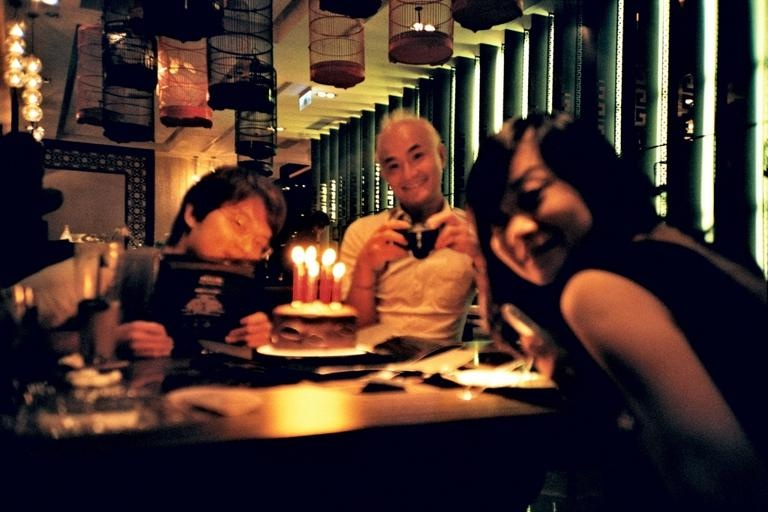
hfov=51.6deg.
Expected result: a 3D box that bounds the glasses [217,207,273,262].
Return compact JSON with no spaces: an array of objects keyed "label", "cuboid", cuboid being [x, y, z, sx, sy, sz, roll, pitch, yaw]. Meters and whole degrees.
[{"label":"glasses","cuboid":[-0.568,-0.111,3.106,0.214,0.166,0.217,30,17,-20]}]

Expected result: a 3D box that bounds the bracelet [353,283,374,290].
[{"label":"bracelet","cuboid":[-0.075,0.128,3.183,0.064,0.018,0.017,1,0,-5]}]

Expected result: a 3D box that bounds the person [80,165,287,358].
[{"label":"person","cuboid":[-0.617,-0.014,2.840,0.462,0.639,0.700,2,0,-3]}]

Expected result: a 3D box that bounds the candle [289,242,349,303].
[{"label":"candle","cuboid":[-0.258,0.071,3.048,0.229,0.271,0.222,-3,-6,34]}]
